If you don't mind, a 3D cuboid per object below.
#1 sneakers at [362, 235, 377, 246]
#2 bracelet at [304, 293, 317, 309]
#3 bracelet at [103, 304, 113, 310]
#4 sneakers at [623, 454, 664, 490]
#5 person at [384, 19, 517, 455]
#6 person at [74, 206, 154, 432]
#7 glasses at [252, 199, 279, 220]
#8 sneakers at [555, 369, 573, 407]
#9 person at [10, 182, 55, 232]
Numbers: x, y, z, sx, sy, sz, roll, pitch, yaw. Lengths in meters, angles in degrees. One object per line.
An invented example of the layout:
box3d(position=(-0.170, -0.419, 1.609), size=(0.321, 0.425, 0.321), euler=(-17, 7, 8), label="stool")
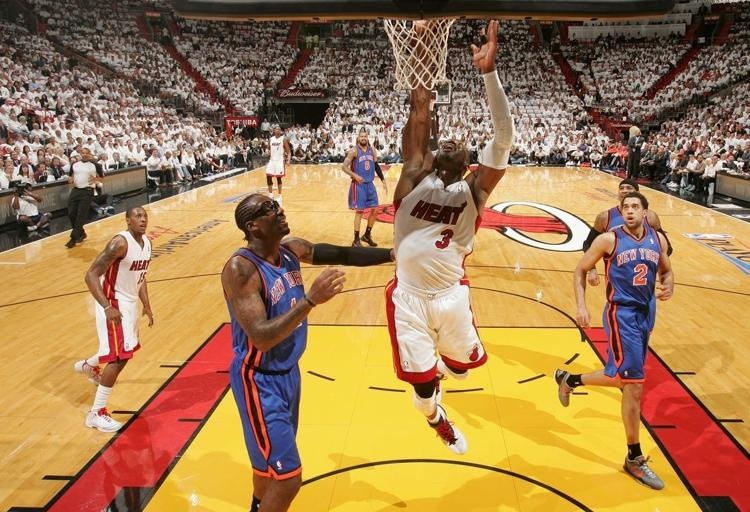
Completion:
box3d(position=(-0.113, -0.299, 9.551), size=(0.328, 0.151, 0.130), euler=(22, 11, 30), label="sneakers")
box3d(position=(-0.402, 0.266, 3.164), size=(0.025, 0.089, 0.063), euler=(-40, 6, -1), label="bracelet")
box3d(position=(-2.443, 0.460, 4.740), size=(0.040, 0.032, 0.041), euler=(1, 5, 11), label="bracelet")
box3d(position=(2.150, 1.720, 4.250), size=(0.128, 0.174, 0.361), euler=(-30, 31, -27), label="sneakers")
box3d(position=(0.529, -0.010, 4.033), size=(0.882, 3.390, 0.747), euler=(-2, 20, -7), label="person")
box3d(position=(-2.492, 0.539, 4.916), size=(0.704, 1.892, 1.053), euler=(-4, 20, -13), label="person")
box3d(position=(-0.729, -0.322, 3.449), size=(0.133, 0.041, 0.131), euler=(-23, 3, 24), label="glasses")
box3d(position=(1.738, 1.204, 4.855), size=(0.120, 0.382, 0.168), euler=(-14, 15, -17), label="sneakers")
box3d(position=(-7.182, -1.024, 10.800), size=(0.692, 1.253, 0.760), euler=(10, 20, 41), label="person")
